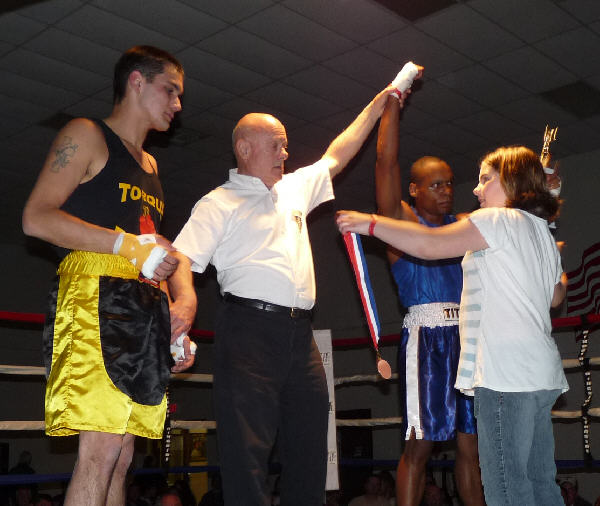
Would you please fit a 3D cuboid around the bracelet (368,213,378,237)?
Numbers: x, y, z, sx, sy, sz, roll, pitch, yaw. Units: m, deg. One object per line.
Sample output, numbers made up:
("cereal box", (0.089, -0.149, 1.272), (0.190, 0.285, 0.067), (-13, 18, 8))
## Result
("bracelet", (0.307, -0.121, 2.565), (0.018, 0.075, 0.056), (11, 3, 1))
